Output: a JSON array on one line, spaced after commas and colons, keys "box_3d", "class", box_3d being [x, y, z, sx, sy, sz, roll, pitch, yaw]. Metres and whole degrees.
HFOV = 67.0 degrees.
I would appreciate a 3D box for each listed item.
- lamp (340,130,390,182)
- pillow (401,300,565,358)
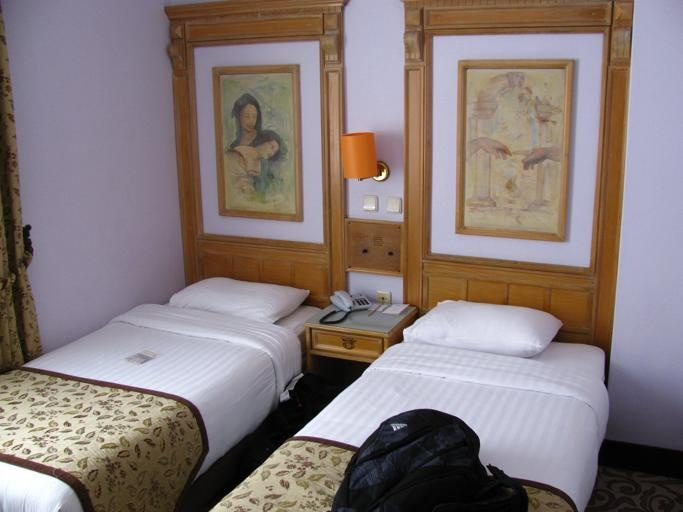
[{"box_3d": [0.163, -0.723, 3.828, 0.250, 0.355, 0.330, 9, 16, 34], "class": "lamp"}, {"box_3d": [0.962, 0.451, 3.477, 0.635, 0.193, 0.420, 4, 28, 31], "class": "pillow"}]
